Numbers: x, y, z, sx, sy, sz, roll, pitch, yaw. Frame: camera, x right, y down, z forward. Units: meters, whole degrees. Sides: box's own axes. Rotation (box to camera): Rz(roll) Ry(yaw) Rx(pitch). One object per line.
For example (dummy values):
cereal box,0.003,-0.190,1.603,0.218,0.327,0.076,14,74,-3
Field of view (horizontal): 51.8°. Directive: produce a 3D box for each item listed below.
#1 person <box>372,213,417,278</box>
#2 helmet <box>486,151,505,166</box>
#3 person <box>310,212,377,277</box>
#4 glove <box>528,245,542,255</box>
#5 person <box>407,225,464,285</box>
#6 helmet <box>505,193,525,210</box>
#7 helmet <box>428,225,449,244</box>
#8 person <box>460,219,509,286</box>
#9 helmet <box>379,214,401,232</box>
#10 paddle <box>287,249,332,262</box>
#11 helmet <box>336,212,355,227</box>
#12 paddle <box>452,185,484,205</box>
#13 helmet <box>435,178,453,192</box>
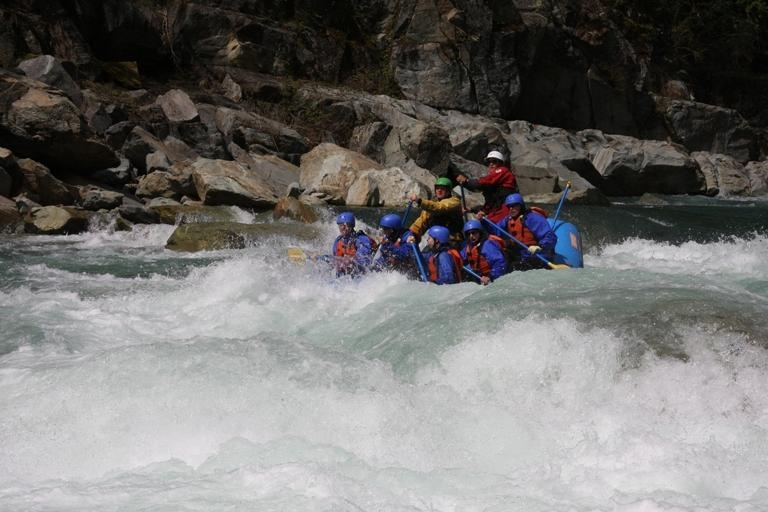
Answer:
person,0.210,-0.175,16.323,0.786,1.853,0.851,10,-27,-24
helmet,2.491,-2.213,17.841,0.383,0.238,0.478,4,5,-1
person,-0.649,-0.217,16.280,1.094,1.226,0.804,12,12,32
glove,3.049,-0.128,15.987,0.220,0.097,0.152,10,50,-18
person,0.958,-0.019,15.558,1.176,1.531,1.163,-1,-6,6
helmet,2.769,-1.164,16.507,0.376,0.275,0.265,17,-8,-8
helmet,1.084,-0.438,15.632,0.398,0.209,0.295,1,22,7
person,1.981,-0.028,15.689,0.811,0.742,1.160,0,31,-19
helmet,0.122,-0.699,16.411,0.399,0.292,0.300,14,16,12
paddle,-1.597,-0.009,16.352,0.702,0.196,0.392,12,1,6
helmet,-0.820,-0.790,16.577,0.302,0.301,0.403,6,17,22
paddle,2.527,-1.676,22.628,0.840,0.206,0.812,21,10,2
helmet,1.259,-1.542,16.831,0.370,0.169,0.252,12,-2,-17
